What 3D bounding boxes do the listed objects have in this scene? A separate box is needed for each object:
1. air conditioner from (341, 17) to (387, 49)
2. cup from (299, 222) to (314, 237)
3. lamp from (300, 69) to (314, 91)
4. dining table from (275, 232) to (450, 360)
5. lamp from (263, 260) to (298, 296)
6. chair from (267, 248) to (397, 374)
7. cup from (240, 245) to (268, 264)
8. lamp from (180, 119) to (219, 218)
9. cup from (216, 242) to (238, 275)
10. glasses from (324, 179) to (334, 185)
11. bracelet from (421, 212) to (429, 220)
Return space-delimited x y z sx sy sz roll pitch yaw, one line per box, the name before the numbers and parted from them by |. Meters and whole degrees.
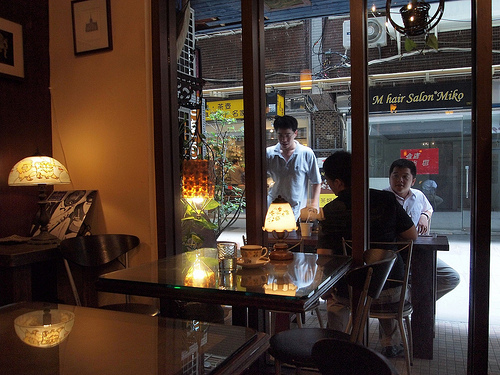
air conditioner | 0.740 -0.986 2.926 0.280 0.193 0.090 1 5 15
cup | 0.393 0.292 3.152 0.085 0.085 0.094 1 -7 -3
lamp | 0.397 -0.744 3.236 0.115 0.140 0.117 3 -6 -21
dining table | 0.891 0.594 3.090 0.810 0.837 0.618 -1 -4 11
lamp | 0.157 0.460 2.244 0.158 0.166 0.163 -6 -9 45
chair | 0.480 0.695 2.776 0.714 1.056 0.574 0 -3 13
cup | 0.014 0.364 2.571 0.123 0.076 0.096 0 -7 -4
lamp | -0.364 -0.122 3.340 0.214 0.585 0.199 1 -6 -3
cup | -0.123 0.390 2.556 0.117 0.142 0.115 -1 -1 0
glasses | 0.536 -0.036 3.067 0.034 0.037 0.036 -1 2 18
bracelet | 1.096 0.180 2.844 0.015 0.039 0.030 -42 -13 8
